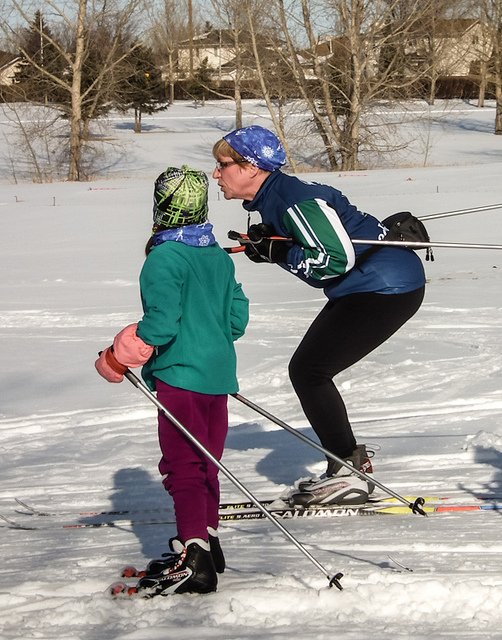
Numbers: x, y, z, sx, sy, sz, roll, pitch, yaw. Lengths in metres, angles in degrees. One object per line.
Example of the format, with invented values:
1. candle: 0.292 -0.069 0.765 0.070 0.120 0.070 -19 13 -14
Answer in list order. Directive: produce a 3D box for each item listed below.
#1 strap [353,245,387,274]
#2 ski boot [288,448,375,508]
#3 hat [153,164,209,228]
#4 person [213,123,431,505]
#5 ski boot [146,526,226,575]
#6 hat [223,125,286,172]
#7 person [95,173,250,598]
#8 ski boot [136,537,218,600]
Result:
1. strap: 0.510 -0.269 3.308 0.112 0.101 0.026 28 -32 -3
2. ski boot: 0.410 0.754 3.666 0.501 0.265 0.161 -13 -22 30
3. hat: -0.266 -0.477 2.943 0.228 0.186 0.222 -11 31 -35
4. person: 0.321 -0.002 3.475 0.837 1.740 0.663 -5 6 24
5. ski boot: -0.251 0.875 2.816 0.343 0.168 0.099 -5 4 15
6. hat: -0.005 -0.761 3.296 0.355 0.117 0.211 11 42 0
7. person: -0.279 0.201 2.852 0.488 1.500 0.644 -7 5 9
8. ski boot: -0.288 0.854 2.671 0.330 0.182 0.100 10 -15 -33
